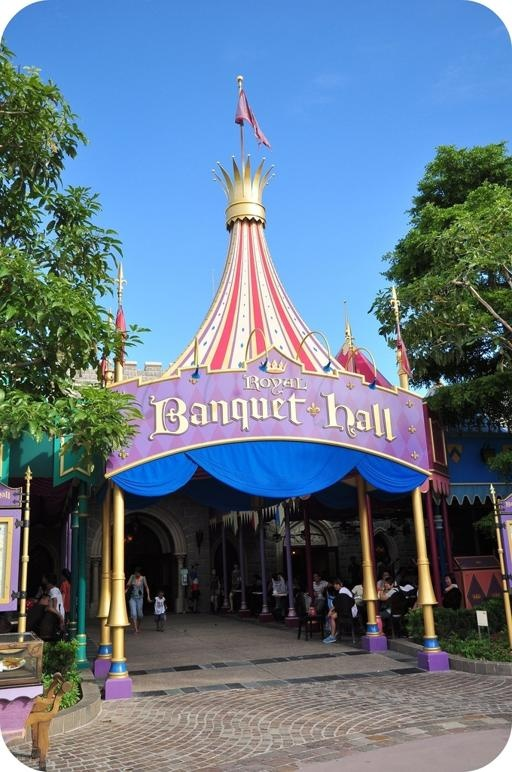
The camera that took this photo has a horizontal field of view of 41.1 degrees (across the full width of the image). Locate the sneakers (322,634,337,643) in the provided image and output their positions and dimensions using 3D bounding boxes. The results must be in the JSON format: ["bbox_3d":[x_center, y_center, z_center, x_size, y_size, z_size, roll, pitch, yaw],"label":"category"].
[{"bbox_3d":[1.454,5.094,13.731,0.112,0.116,0.260,-32,-40,32],"label":"sneakers"}]

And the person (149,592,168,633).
[{"bbox_3d":[-2.531,5.894,17.917,0.268,0.934,0.817,-1,-17,-13],"label":"person"}]
